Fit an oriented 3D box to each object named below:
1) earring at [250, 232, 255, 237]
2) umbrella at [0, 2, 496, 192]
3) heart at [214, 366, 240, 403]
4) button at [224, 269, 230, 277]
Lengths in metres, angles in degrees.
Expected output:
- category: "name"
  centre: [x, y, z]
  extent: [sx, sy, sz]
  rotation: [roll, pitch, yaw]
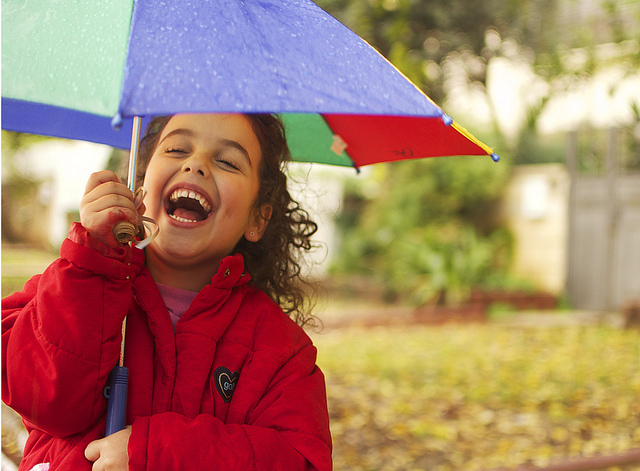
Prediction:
- category: "earring"
  centre: [-0.341, -0.010, 3.662]
  extent: [0.023, 0.024, 0.005]
  rotation: [-2, 2, -29]
- category: "umbrella"
  centre: [-0.341, -0.637, 3.262]
  extent: [1.955, 0.840, 1.120]
  rotation: [-11, 14, -30]
- category: "heart"
  centre: [-0.420, 0.686, 3.361]
  extent: [0.164, 0.162, 0.023]
  rotation: [21, -20, -37]
- category: "button"
  centre: [-0.433, 0.173, 3.416]
  extent: [0.007, 0.022, 0.015]
  rotation: [23, -7, 46]
